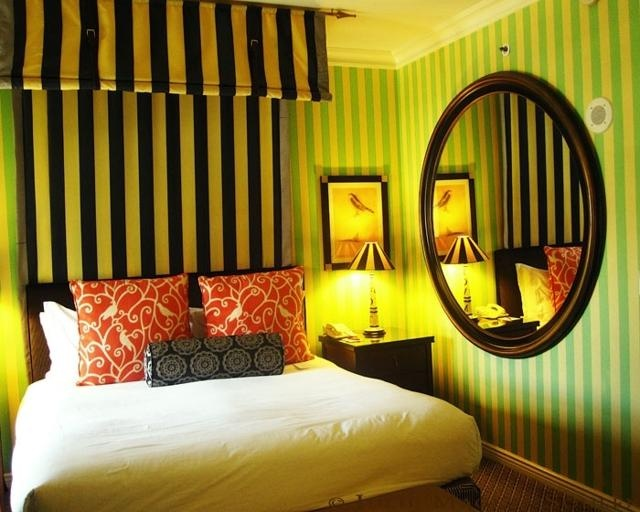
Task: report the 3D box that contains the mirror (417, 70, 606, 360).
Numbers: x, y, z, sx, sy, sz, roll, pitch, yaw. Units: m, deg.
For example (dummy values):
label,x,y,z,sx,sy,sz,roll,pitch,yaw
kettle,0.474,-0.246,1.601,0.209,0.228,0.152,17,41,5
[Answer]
label,x,y,z,sx,sy,sz,roll,pitch,yaw
mirror,1.187,-0.225,3.904,0.043,1.945,1.757,-6,5,-23

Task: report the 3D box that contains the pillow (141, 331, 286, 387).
label,x,y,z,sx,sy,sz,roll,pitch,yaw
pillow,-0.616,0.619,3.414,0.633,0.297,0.264,-3,29,-18

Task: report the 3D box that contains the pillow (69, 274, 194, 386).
label,x,y,z,sx,sy,sz,roll,pitch,yaw
pillow,-1.165,0.480,3.485,0.450,0.477,0.181,-5,-18,-16

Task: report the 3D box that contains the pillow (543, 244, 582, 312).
label,x,y,z,sx,sy,sz,roll,pitch,yaw
pillow,1.450,0.126,3.409,0.051,0.406,0.258,-6,13,-21

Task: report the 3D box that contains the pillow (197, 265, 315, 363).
label,x,y,z,sx,sy,sz,roll,pitch,yaw
pillow,-0.452,0.392,3.749,0.493,0.482,0.202,-7,13,-20

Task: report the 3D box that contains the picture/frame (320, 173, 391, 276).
label,x,y,z,sx,sy,sz,roll,pitch,yaw
picture/frame,0.261,-0.246,4.521,0.681,1.075,0.066,-1,1,-25
